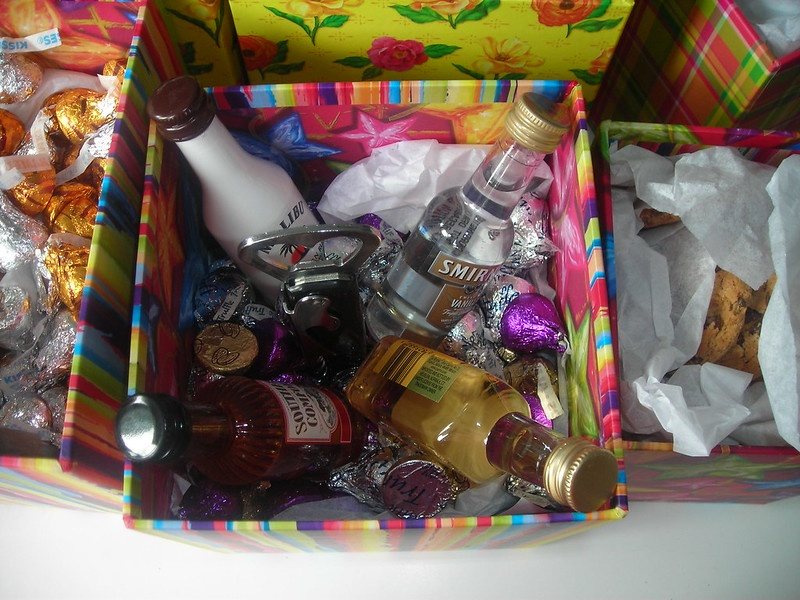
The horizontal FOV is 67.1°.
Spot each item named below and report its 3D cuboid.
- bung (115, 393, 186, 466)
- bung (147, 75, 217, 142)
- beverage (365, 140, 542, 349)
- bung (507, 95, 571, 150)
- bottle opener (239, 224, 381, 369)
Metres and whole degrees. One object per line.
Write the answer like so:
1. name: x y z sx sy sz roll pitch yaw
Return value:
1. bung: -0.207 0.105 0.513 0.058 0.057 0.057 -4 92 8
2. bung: -0.228 -0.197 0.632 0.060 0.059 0.051 -29 72 -13
3. beverage: 0.072 -0.068 0.714 0.105 0.316 0.105 36 44 8
4. bung: 0.129 -0.170 0.577 0.056 0.033 0.056 22 45 -13
5. bottle opener: -0.091 0.006 0.682 0.146 0.234 0.056 -7 43 -3
